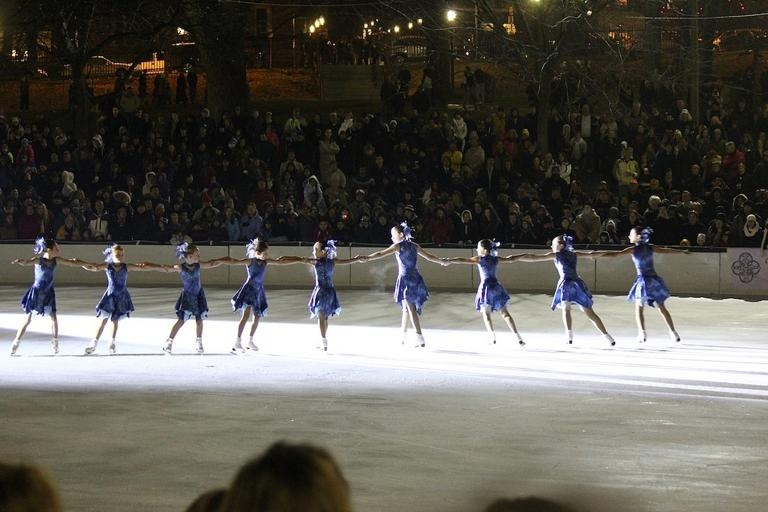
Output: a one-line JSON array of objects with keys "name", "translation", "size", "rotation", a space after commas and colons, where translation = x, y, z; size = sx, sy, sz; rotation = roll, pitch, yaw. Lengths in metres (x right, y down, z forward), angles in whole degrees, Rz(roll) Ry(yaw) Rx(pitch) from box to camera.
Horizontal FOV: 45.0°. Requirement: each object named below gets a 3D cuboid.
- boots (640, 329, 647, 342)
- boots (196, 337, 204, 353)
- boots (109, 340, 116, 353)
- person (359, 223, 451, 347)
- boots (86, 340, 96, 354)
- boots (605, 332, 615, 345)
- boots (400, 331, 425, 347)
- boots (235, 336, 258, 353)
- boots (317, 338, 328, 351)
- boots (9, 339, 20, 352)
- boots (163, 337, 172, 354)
[{"name": "boots", "translation": [5.038, 1.564, 18.010], "size": [0.131, 0.283, 0.386], "rotation": [1, 7, 15]}, {"name": "boots", "translation": [-3.423, 1.656, 17.373], "size": [0.127, 0.290, 0.366], "rotation": [-3, 7, -12]}, {"name": "boots", "translation": [-5.001, 1.697, 17.220], "size": [0.087, 0.237, 0.105], "rotation": [3, -3, -17]}, {"name": "person", "translation": [0.466, 0.564, 18.172], "size": [0.741, 2.303, 1.324], "rotation": [-4, 8, -19]}, {"name": "boots", "translation": [-5.412, 1.713, 17.228], "size": [0.089, 0.185, 0.258], "rotation": [40, 14, -18]}, {"name": "boots", "translation": [4.332, 1.595, 17.685], "size": [0.162, 0.125, 0.258], "rotation": [-9, 42, -12]}, {"name": "boots", "translation": [0.593, 1.627, 17.930], "size": [0.200, 0.247, 0.563], "rotation": [0, 4, -30]}, {"name": "boots", "translation": [-2.584, 1.651, 17.436], "size": [0.457, 0.291, 0.300], "rotation": [-3, 7, -16]}, {"name": "boots", "translation": [-1.134, 1.642, 17.523], "size": [0.204, 0.258, 0.407], "rotation": [-2, 7, -5]}, {"name": "boots", "translation": [-6.831, 1.681, 17.239], "size": [0.158, 0.272, 0.414], "rotation": [-4, 7, -22]}, {"name": "boots", "translation": [-3.973, 1.642, 17.190], "size": [0.170, 0.346, 0.299], "rotation": [-3, 7, -14]}]
